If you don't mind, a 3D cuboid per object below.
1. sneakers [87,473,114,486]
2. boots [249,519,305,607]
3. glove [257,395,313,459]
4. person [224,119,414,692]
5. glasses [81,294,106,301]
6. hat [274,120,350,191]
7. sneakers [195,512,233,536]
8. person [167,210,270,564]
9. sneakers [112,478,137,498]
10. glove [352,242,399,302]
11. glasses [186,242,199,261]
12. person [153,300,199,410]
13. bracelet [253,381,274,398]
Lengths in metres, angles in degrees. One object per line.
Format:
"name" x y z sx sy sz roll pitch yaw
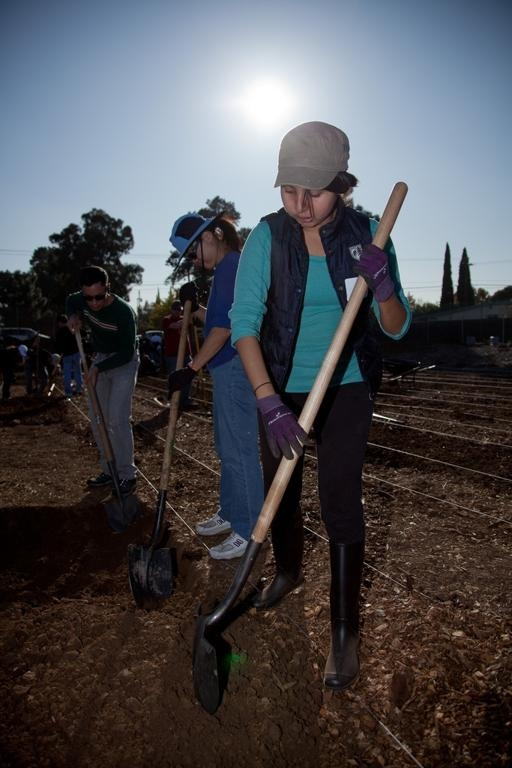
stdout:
"sneakers" -1.373 0.848 4.806 0.111 0.141 0.314 -2 -7 37
"boots" 0.098 0.816 2.437 0.277 0.396 0.117 -17 29 -27
"glove" 0.088 0.148 1.806 0.143 0.081 0.266 -5 52 -13
"person" 0.254 0.057 2.016 0.659 1.950 0.845 -9 17 -18
"glasses" -1.253 -0.675 4.153 0.165 0.057 0.096 -5 6 -19
"hat" 0.197 -0.797 1.842 0.249 0.204 0.380 7 31 19
"sneakers" -0.271 0.904 3.439 0.279 0.140 0.102 1 -1 -13
"person" -0.227 -0.028 3.052 0.530 1.876 0.493 0 -4 -14
"sneakers" -1.055 0.836 4.270 0.099 0.121 0.271 2 -4 14
"glove" 0.402 -0.366 1.828 0.079 0.200 0.150 3 35 48
"glasses" -0.351 -0.785 3.083 0.047 0.104 0.078 19 -22 -11
"person" -1.267 -0.530 9.357 0.519 1.947 0.471 -9 1 -15
"bracelet" 0.020 0.023 1.855 0.054 0.057 0.043 -11 -8 8
